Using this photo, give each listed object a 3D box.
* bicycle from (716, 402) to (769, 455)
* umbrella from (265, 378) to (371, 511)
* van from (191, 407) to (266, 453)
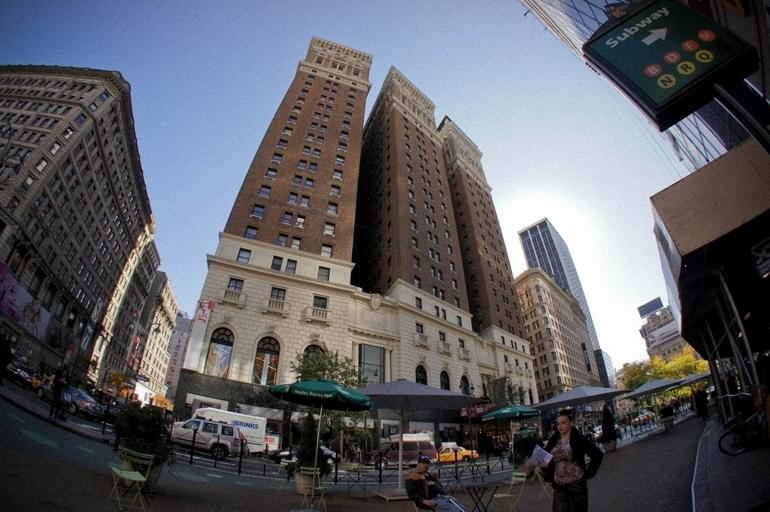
[{"bbox_3d":[13.534,6.610,15.953,1.544,1.310,2.630,1,-47,47],"label":"bicycle"},{"bbox_3d":[-2.669,7.506,17.116,3.686,4.809,2.393,-7,-33,13],"label":"umbrella"},{"bbox_3d":[-10.151,11.169,28.343,5.037,2.938,3.104,11,-29,-13],"label":"van"}]
